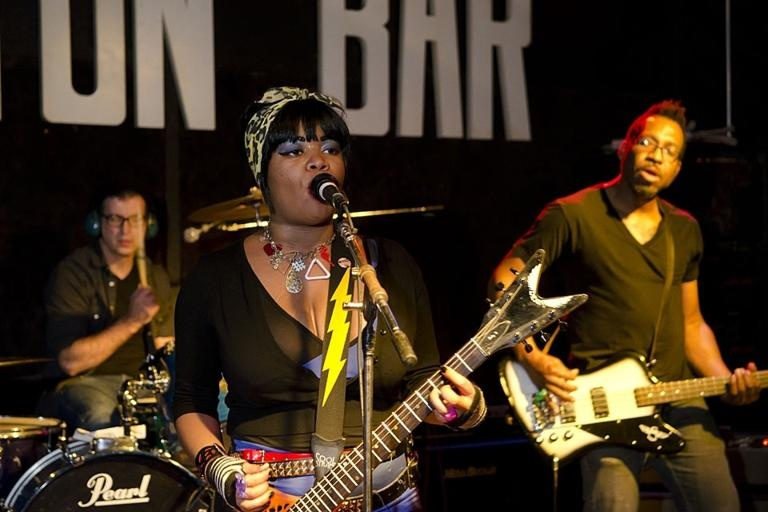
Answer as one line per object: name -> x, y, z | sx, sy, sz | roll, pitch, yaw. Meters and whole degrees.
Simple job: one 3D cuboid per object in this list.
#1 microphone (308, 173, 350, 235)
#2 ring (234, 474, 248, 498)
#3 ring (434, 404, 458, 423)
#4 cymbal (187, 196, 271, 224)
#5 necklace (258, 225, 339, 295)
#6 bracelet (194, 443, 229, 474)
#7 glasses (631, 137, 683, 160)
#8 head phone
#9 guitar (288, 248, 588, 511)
microphone -> -0.242, -0.277, 4.152 | 0.148, 0.159, 0.478 | -21, 25, -11
ring -> -0.688, 1.113, 4.110 | 0.053, 0.100, 0.030 | -2, -3, 13
ring -> 0.304, 0.765, 4.132 | 0.101, 0.086, 0.033 | 15, 14, 27
cymbal -> -1.013, -0.294, 5.609 | 0.273, 0.101, 0.286 | -6, -7, -19
necklace -> -0.443, 0.033, 4.405 | 0.305, 0.348, 0.055 | 4, -21, -13
bracelet -> -0.853, 1.017, 4.274 | 0.141, 0.078, 0.120 | -16, -15, 40
glasses -> 1.836, -0.714, 5.703 | 0.226, 0.057, 0.148 | 17, -2, -6
head phone -> -1.706, -0.367, 5.527 | 0.423, 0.435, 0.187 | 0, -2, -10
guitar -> 0.308, 0.669, 4.747 | 2.152, 0.287, 0.284 | -43, -43, 4
